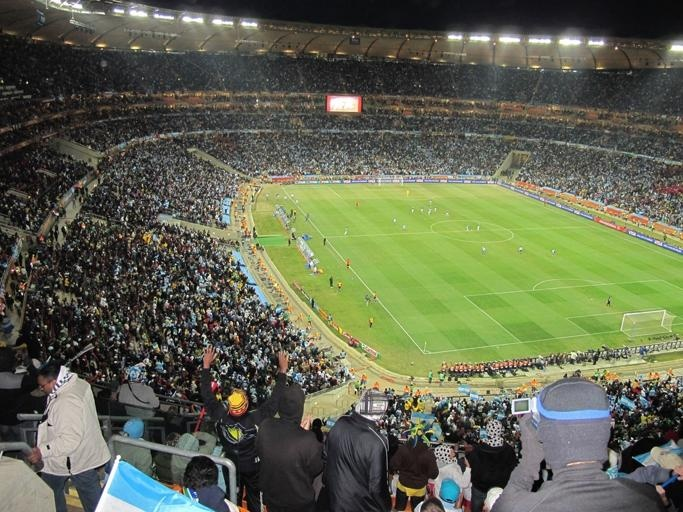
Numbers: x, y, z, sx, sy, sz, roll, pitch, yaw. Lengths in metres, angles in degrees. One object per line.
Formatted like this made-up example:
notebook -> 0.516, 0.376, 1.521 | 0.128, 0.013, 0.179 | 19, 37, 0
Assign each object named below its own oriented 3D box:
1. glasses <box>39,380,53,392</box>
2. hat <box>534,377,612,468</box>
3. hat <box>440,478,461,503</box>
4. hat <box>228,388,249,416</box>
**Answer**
glasses -> -4.553, 2.014, 8.509 | 0.195, 0.197, 0.261 | 15, -16, -34
hat -> 2.342, 1.731, 5.998 | 0.684, 0.956, 0.934 | -7, -4, -5
hat -> 1.968, 4.280, 10.046 | 0.343, 0.479, 0.468 | 6, -16, 21
hat -> -1.773, 2.529, 9.481 | 0.322, 0.457, 0.353 | 8, -14, -10
